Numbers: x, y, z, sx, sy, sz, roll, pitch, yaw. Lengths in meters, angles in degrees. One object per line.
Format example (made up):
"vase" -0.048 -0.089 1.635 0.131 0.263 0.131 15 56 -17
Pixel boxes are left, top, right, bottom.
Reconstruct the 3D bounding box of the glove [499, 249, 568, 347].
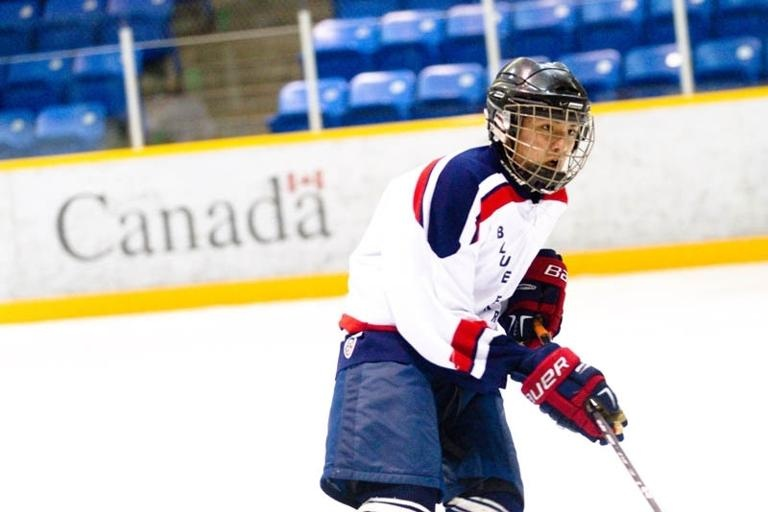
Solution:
"glove" 0.788 0.195 7.203 0.209 0.530 0.304 5 -27 50
